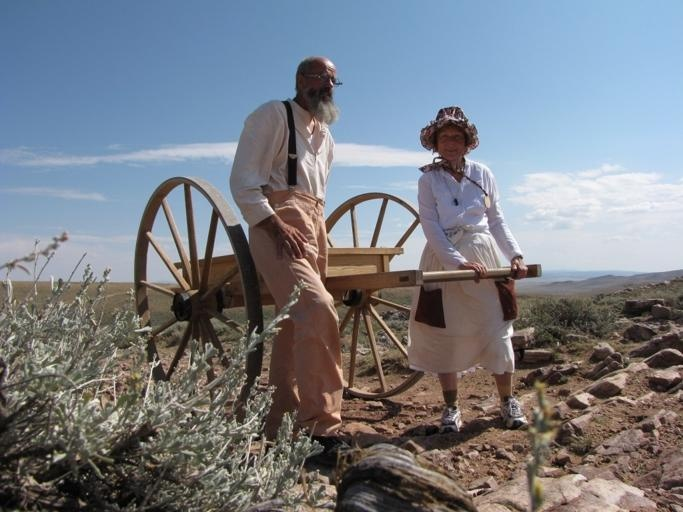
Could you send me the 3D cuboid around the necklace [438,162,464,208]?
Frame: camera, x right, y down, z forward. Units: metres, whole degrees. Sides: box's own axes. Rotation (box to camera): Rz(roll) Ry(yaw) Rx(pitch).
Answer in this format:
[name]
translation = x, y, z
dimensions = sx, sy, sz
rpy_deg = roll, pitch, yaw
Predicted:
[necklace]
translation = 0.953, -0.653, 4.104
dimensions = 0.242, 0.348, 0.076
rpy_deg = -31, 21, -33
